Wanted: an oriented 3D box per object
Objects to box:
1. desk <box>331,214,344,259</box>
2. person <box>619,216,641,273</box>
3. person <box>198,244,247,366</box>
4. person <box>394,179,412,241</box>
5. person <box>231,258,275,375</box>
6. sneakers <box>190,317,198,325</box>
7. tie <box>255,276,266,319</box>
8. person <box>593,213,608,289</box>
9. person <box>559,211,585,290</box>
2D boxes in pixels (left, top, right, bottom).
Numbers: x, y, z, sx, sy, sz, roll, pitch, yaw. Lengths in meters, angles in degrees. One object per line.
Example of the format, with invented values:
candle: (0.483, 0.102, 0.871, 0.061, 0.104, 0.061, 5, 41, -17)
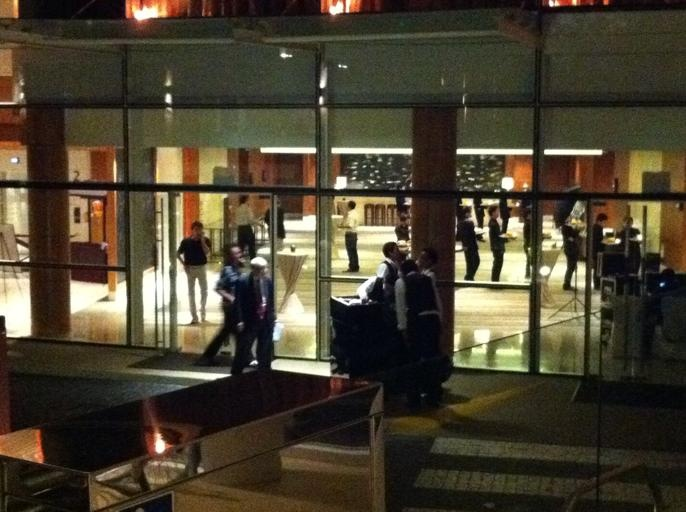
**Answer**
desk: (-0.128, -0.291, 12.709, 0.221, 0.643, 0.218, 3, 1, -14)
person: (4.250, -0.159, 11.849, 0.362, 0.840, 0.152, 8, 8, 16)
person: (-1.946, 0.660, 13.039, 1.170, 1.805, 0.617, 3, 32, -11)
person: (0.951, -0.710, 12.365, 0.279, 0.972, 0.093, 7, 7, 4)
person: (-1.312, 0.916, 11.855, 0.564, 1.825, 0.511, 5, 7, -7)
sneakers: (-2.465, 1.082, 13.286, 0.104, 0.099, 0.180, -1, -1, 17)
tie: (-1.192, 0.628, 11.698, 0.097, 0.607, 0.212, 10, 8, 27)
person: (3.787, -0.079, 11.937, 0.213, 1.136, 0.152, 8, 8, 16)
person: (3.387, -0.049, 11.982, 0.331, 1.114, 0.082, 8, 7, 14)
